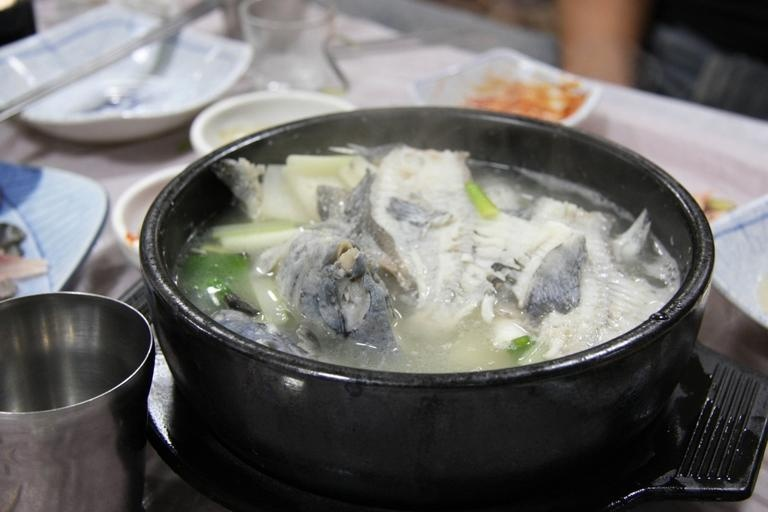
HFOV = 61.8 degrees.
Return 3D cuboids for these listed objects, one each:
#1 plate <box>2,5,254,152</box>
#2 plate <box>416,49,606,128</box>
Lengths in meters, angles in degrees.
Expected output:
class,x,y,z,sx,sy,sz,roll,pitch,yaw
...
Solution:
class,x,y,z,sx,sy,sz,roll,pitch,yaw
plate,-0.862,-0.594,2.156,0.599,0.177,0.631,30,46,27
plate,0.381,-0.542,1.990,0.456,0.098,0.356,19,44,26
